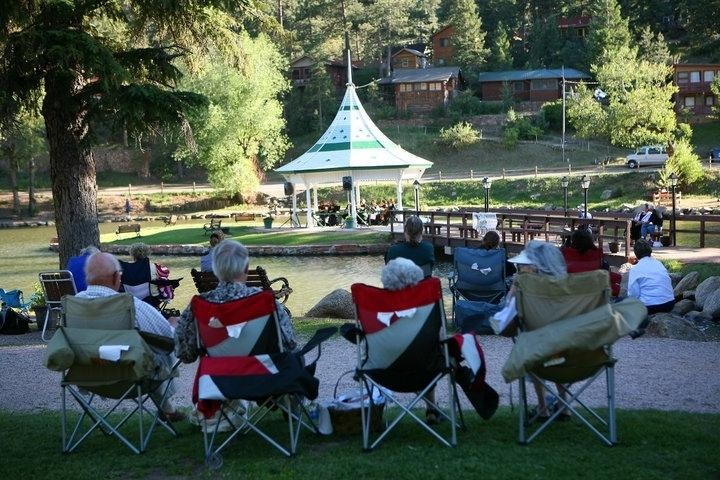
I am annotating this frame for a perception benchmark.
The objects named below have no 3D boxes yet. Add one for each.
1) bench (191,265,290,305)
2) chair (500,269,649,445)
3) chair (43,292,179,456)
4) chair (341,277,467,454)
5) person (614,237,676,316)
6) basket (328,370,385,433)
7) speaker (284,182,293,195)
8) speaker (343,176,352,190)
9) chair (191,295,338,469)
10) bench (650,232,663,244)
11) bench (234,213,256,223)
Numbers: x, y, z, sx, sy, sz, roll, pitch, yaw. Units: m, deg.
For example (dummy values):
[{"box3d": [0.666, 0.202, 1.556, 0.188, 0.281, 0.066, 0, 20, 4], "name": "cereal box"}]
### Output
[{"box3d": [-2.422, 0.906, 18.441, 1.103, 0.688, 0.726, 0, 10, 25], "name": "bench"}, {"box3d": [3.341, 1.897, 15.432, 2.686, 2.860, 2.164, 0, -2, -1], "name": "chair"}, {"box3d": [-4.422, 2.389, 16.898, 2.505, 2.877, 2.522, -1, -3, -28], "name": "chair"}, {"box3d": [0.850, 2.268, 17.315, 2.714, 3.760, 2.530, -1, -3, 4], "name": "chair"}, {"box3d": [5.832, 0.719, 18.997, 1.022, 1.465, 1.251, -4, 2, 6], "name": "person"}, {"box3d": [-0.077, 3.001, 16.870, 1.067, 1.160, 0.837, 0, -2, 3], "name": "basket"}, {"box3d": [-3.080, -2.290, 40.428, 0.367, 0.539, 0.568, -5, 10, -8], "name": "speaker"}, {"box3d": [-0.538, -2.409, 38.816, 0.404, 0.628, 0.511, 0, 0, -3], "name": "speaker"}, {"box3d": [-1.784, 2.311, 16.875, 2.818, 3.056, 2.219, -5, 1, 1], "name": "chair"}, {"box3d": [9.184, -0.067, 28.687, 0.305, 0.346, 0.586, 0, -3, 15], "name": "bench"}, {"box3d": [-6.002, -1.256, 48.000, 0.988, 0.369, 2.941, -6, 11, -10], "name": "bench"}]
